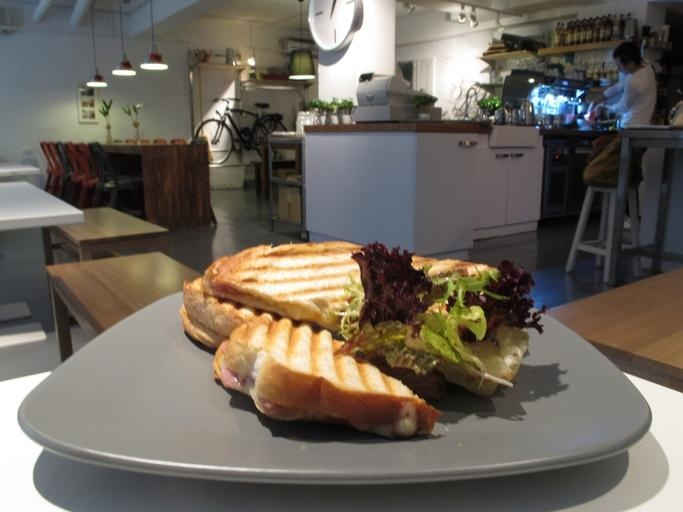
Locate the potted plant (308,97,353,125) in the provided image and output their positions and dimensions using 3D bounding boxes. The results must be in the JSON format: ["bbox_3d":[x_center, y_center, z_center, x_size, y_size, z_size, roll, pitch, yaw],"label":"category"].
[{"bbox_3d":[-0.101,-1.417,4.503,0.290,0.341,0.640,-1,8,-21],"label":"potted plant"}]

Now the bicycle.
[{"bbox_3d":[-2.279,-2.892,10.779,2.068,1.396,1.072,-9,21,-26],"label":"bicycle"}]

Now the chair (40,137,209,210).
[{"bbox_3d":[-3.450,-1.131,6.533,1.215,0.987,2.943,-3,9,-34],"label":"chair"}]

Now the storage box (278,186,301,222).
[{"bbox_3d":[-0.550,-0.552,5.014,0.130,0.380,0.608,-1,8,-22],"label":"storage box"}]

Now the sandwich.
[{"bbox_3d":[0.011,0.046,0.458,0.224,0.092,0.248,7,13,7],"label":"sandwich"}]

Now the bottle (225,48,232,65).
[{"bbox_3d":[-2.514,-4.443,10.291,0.216,0.238,0.455,1,57,-16],"label":"bottle"}]

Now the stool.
[{"bbox_3d":[1.800,-0.202,3.302,0.359,0.618,0.362,7,10,21],"label":"stool"}]

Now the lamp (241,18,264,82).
[{"bbox_3d":[-2.054,-4.600,10.485,0.486,1.355,0.668,0,7,-12],"label":"lamp"}]

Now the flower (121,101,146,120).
[{"bbox_3d":[-4.280,-2.959,9.473,0.334,0.328,0.311,2,7,3],"label":"flower"}]
